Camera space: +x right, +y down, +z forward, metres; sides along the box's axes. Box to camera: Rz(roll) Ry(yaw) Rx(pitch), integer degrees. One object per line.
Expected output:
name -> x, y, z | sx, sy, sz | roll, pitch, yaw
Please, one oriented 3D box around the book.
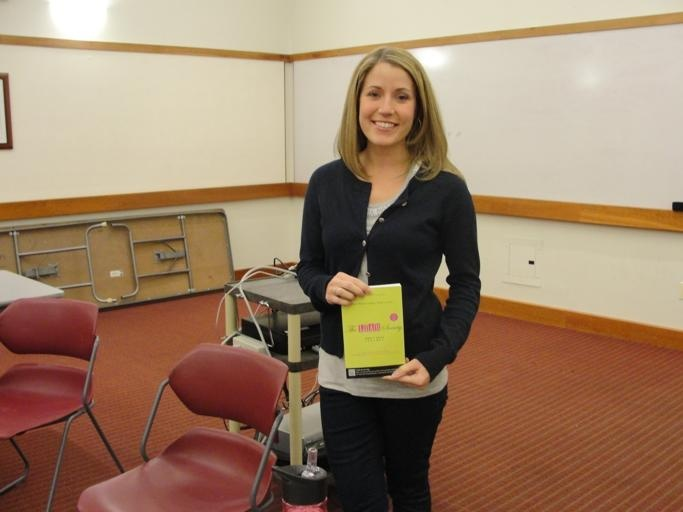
book -> 0.091, 0.218, 1.424 | 0.261, 0.379, 0.036 | -1, 5, 8
